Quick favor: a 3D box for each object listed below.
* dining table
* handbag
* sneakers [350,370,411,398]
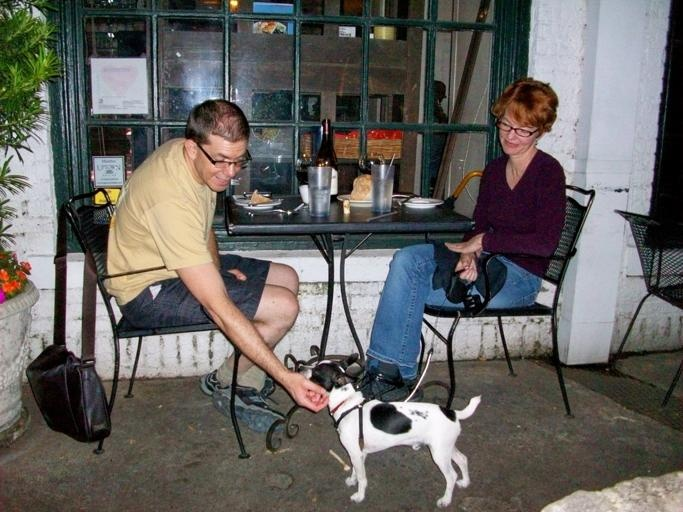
[{"bbox_3d":[0.019,0.335,3.540,1.448,1.386,1.447,-1,24,-2],"label":"dining table"},{"bbox_3d":[-1.435,0.375,2.836,0.325,1.101,0.481,-8,19,-31],"label":"handbag"},{"bbox_3d":[0.240,0.733,3.154,0.239,0.087,0.172,-2,47,-2],"label":"sneakers"}]
